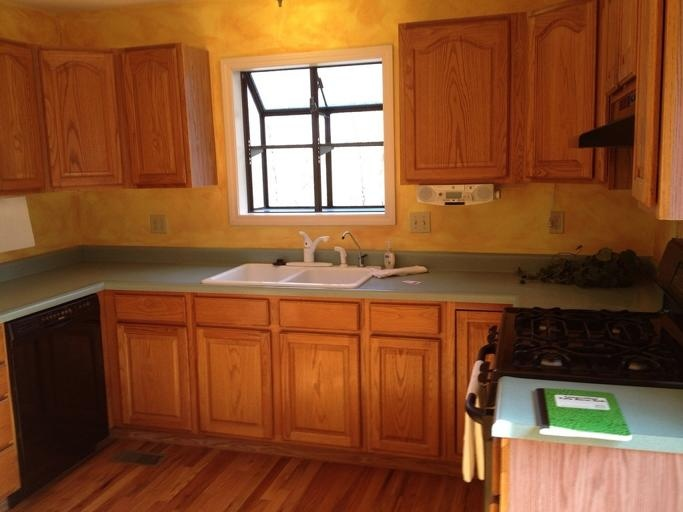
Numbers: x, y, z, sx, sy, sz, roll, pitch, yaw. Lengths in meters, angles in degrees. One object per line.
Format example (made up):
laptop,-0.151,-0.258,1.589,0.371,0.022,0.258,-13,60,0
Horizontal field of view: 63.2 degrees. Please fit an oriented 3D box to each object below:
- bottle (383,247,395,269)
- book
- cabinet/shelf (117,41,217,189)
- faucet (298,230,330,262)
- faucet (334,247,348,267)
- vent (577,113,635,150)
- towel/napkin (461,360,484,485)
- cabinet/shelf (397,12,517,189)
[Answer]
bottle,0.313,0.016,3.570,0.073,0.124,0.097,0,14,6
book,0.694,0.461,1.623,0.239,0.045,0.225,1,14,12
cabinet/shelf,-1.121,-0.903,3.603,0.577,0.888,0.382,-5,14,-12
faucet,-0.180,-0.069,3.675,0.210,0.213,0.220,-1,14,4
faucet,-0.002,-0.007,3.638,0.087,0.128,0.119,-2,14,0
vent,0.941,-0.444,1.975,0.162,0.113,0.336,3,14,20
towel/napkin,0.464,0.632,1.920,0.072,0.460,0.355,2,14,14
cabinet/shelf,0.617,-0.871,3.489,0.882,1.225,0.829,0,4,20
